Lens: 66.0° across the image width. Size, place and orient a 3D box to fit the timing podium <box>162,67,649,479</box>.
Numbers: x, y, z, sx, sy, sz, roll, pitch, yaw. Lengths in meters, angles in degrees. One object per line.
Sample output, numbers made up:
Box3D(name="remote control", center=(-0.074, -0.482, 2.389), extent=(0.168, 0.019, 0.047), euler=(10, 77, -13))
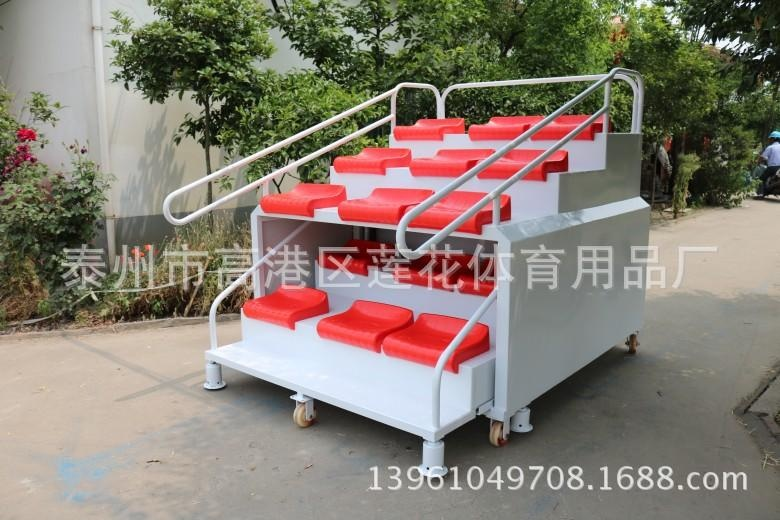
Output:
Box3D(name="timing podium", center=(0.446, -0.223, 6.373), extent=(3.795, 2.918, 4.075), euler=(5, 17, 32))

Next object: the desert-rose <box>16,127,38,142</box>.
Box3D(name="desert-rose", center=(-4.609, -1.580, 7.662), extent=(0.241, 0.172, 0.242), euler=(2, 0, -10))
